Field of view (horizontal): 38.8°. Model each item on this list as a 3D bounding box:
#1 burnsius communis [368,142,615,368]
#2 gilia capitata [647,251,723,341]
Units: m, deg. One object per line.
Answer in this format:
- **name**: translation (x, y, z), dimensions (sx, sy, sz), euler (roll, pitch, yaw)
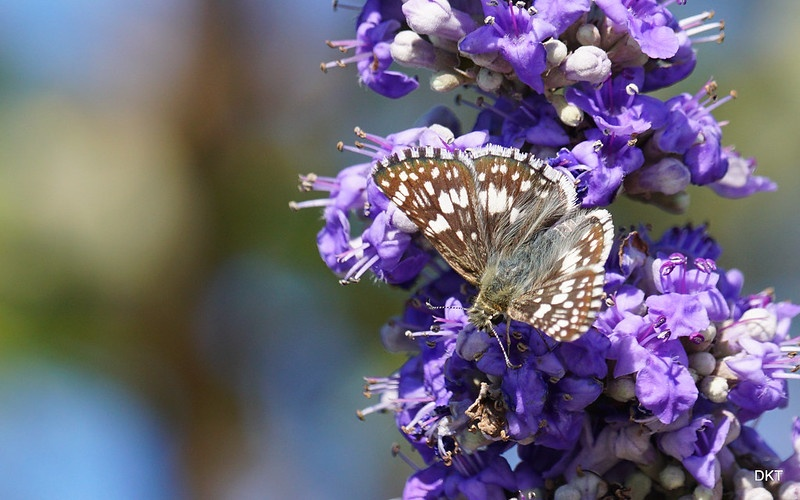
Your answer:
- **burnsius communis**: translation (0.628, -0.128, 7.363), dimensions (1.017, 1.719, 1.410), euler (1, 3, 2)
- **gilia capitata**: translation (1.789, 0.280, 7.176), dimensions (0.473, 0.544, 0.272), euler (4, 11, -9)
